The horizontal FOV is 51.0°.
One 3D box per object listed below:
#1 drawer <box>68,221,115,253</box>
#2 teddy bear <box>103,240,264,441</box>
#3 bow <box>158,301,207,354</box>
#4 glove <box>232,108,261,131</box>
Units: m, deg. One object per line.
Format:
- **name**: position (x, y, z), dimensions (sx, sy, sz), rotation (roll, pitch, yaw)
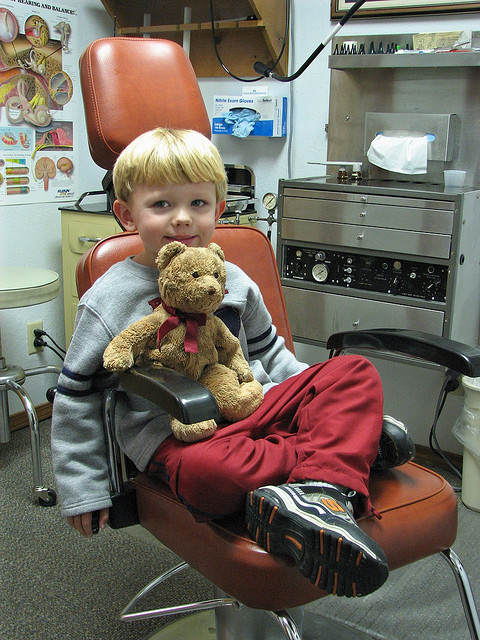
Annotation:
- **drawer**: position (-0.588, -0.325, 1.987), dimensions (0.269, 0.121, 0.046), rotation (9, 13, 40)
- **teddy bear**: position (-0.070, 0.021, 0.726), dimensions (0.245, 0.252, 0.200), rotation (0, 13, -42)
- **bow**: position (-0.083, 0.012, 0.728), dimensions (0.066, 0.066, 0.062), rotation (0, 9, -2)
- **glove**: position (0.029, -0.849, 2.143), dimensions (0.077, 0.083, 0.065), rotation (17, 12, -25)
